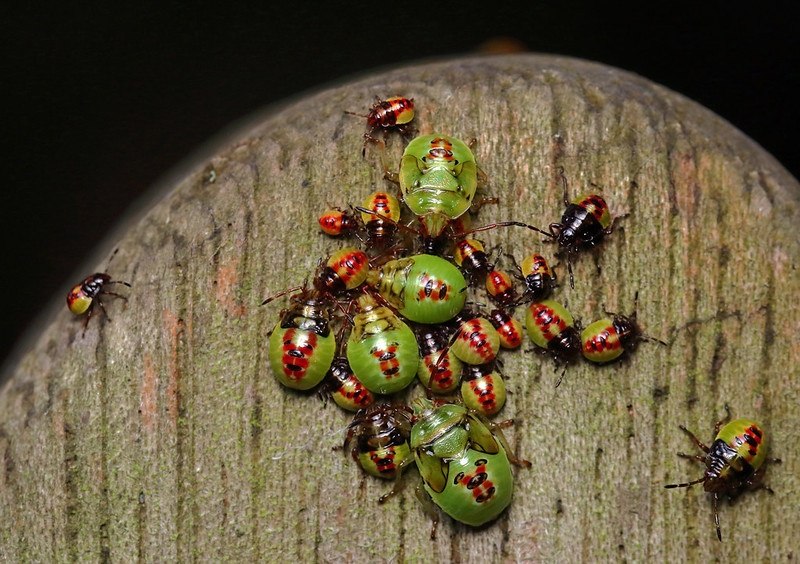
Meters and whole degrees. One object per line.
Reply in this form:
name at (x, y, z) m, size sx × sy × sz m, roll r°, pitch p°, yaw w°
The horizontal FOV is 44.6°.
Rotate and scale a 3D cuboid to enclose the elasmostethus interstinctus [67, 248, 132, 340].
elasmostethus interstinctus at (-1.415, 0.030, 4.568) m, size 0.310 × 0.095 × 0.255 m, roll -43°, pitch 56°, yaw 8°
